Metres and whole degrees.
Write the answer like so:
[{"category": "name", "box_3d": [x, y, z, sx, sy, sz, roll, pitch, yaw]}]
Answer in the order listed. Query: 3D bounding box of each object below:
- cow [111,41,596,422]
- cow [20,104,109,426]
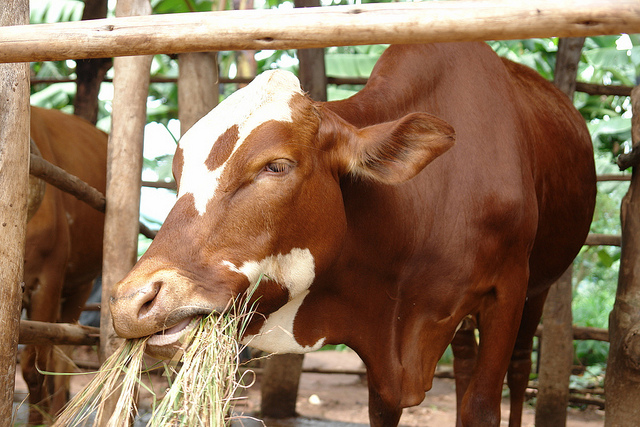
[{"category": "cow", "box_3d": [0.317, 0.054, 5.433, 3.246, 2.468, 0.979, 2, 7, -16]}, {"category": "cow", "box_3d": [-2.131, 0.397, 6.875, 0.653, 2.493, 1.637, 1, 7, -16]}]
